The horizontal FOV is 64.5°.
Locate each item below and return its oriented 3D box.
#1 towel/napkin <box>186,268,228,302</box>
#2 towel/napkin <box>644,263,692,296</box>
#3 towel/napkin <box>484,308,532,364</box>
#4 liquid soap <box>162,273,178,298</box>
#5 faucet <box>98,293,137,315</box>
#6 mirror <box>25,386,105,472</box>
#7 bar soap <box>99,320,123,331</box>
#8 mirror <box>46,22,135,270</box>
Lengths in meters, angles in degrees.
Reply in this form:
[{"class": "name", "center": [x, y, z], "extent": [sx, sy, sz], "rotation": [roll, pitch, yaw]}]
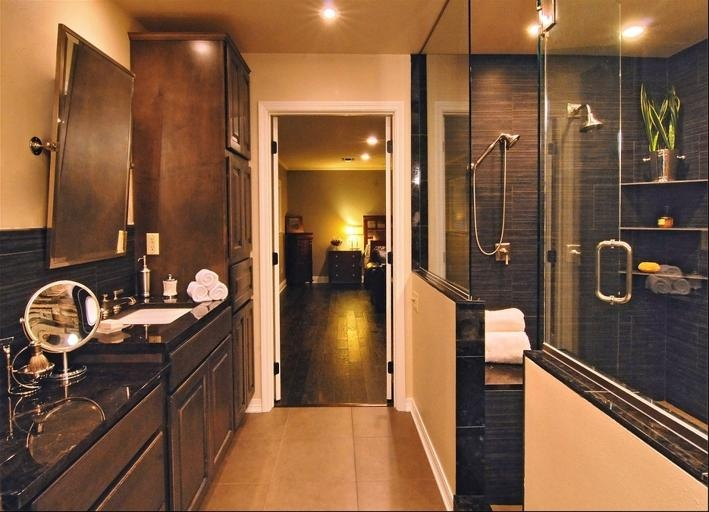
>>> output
[{"class": "towel/napkin", "center": [-0.857, 0.170, 3.288], "extent": [0.188, 0.155, 0.201], "rotation": [-1, -1, 27]}, {"class": "towel/napkin", "center": [1.012, 0.077, 1.803], "extent": [0.094, 0.064, 0.129], "rotation": [1, 7, 29]}, {"class": "towel/napkin", "center": [0.880, 0.467, 3.296], "extent": [0.292, 0.150, 0.300], "rotation": [-2, 4, 6]}, {"class": "liquid soap", "center": [-1.107, 0.183, 3.353], "extent": [0.099, 0.129, 0.104], "rotation": [-2, 8, -4]}, {"class": "faucet", "center": [-1.288, 0.264, 3.074], "extent": [0.089, 0.117, 0.314], "rotation": [-1, 0, -7]}, {"class": "mirror", "center": [-1.068, 0.653, 2.078], "extent": [0.200, 0.046, 0.264], "rotation": [-1, 15, -20]}, {"class": "bar soap", "center": [-1.174, 0.338, 2.709], "extent": [0.072, 0.018, 0.069], "rotation": [3, 4, 2]}, {"class": "mirror", "center": [-1.329, -0.525, 2.842], "extent": [0.171, 1.122, 0.615], "rotation": [0, 8, 9]}]
